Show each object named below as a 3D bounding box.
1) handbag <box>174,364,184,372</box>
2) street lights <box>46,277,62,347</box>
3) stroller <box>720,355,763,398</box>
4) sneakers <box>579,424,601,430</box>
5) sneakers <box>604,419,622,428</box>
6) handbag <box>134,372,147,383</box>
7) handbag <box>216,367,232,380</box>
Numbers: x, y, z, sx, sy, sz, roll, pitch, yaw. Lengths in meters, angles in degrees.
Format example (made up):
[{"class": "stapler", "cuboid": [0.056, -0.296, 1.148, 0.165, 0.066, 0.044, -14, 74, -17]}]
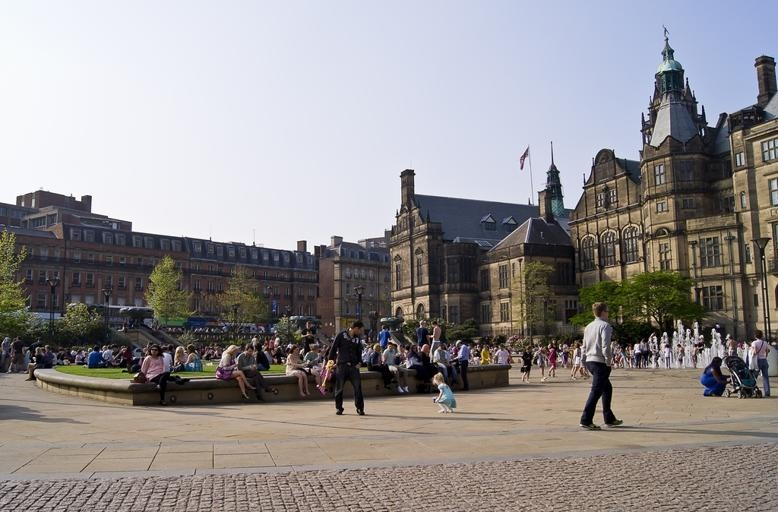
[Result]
[{"class": "handbag", "cuboid": [-8.267, 4.449, 29.031, 0.280, 0.253, 0.275, 4, -10, -23]}, {"class": "street lights", "cuboid": [-27.342, 4.534, 60.145, 0.986, 5.244, 0.934, -2, 0, -22]}, {"class": "stroller", "cuboid": [11.713, 3.990, 24.428, 1.028, 1.295, 1.191, 0, -6, -29]}, {"class": "sneakers", "cuboid": [4.988, 4.263, 18.252, 0.490, 0.189, 0.178, 2, -1, 2]}, {"class": "sneakers", "cuboid": [5.668, 4.218, 18.510, 0.502, 0.211, 0.167, -3, 4, -20]}, {"class": "handbag", "cuboid": [-8.036, 3.882, 23.570, 0.474, 0.316, 0.274, -1, -10, 8]}, {"class": "handbag", "cuboid": [-5.447, 3.891, 24.225, 0.574, 0.348, 0.649, 2, -3, 16]}]
